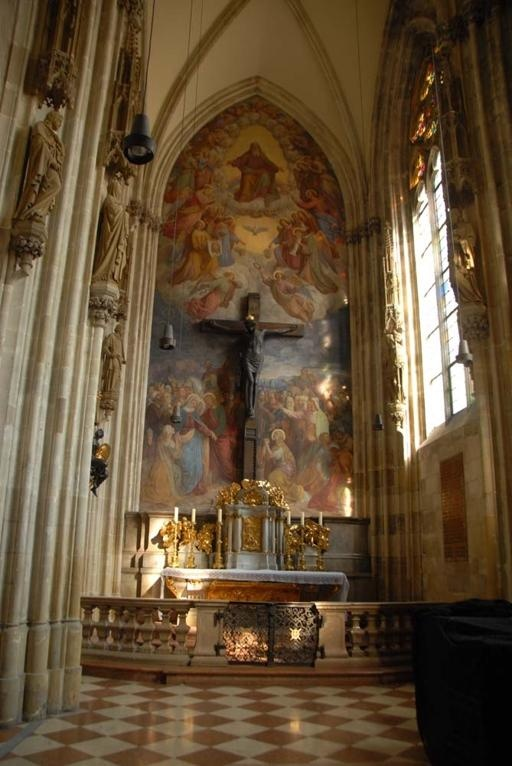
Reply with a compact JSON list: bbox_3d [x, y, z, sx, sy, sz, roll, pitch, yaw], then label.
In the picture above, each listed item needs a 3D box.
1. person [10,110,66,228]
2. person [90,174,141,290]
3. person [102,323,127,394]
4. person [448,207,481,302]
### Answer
[{"bbox_3d":[-1.751,-1.675,5.174,0.254,1.024,0.351,-4,-19,8],"label":"person"},{"bbox_3d":[-1.640,-1.811,7.250,0.326,1.606,0.668,2,-19,-9],"label":"person"},{"bbox_3d":[-2.181,-0.326,9.700,0.313,0.906,0.434,4,-19,-15],"label":"person"},{"bbox_3d":[2.816,-1.722,8.584,0.356,1.553,0.248,-8,-20,19],"label":"person"}]
